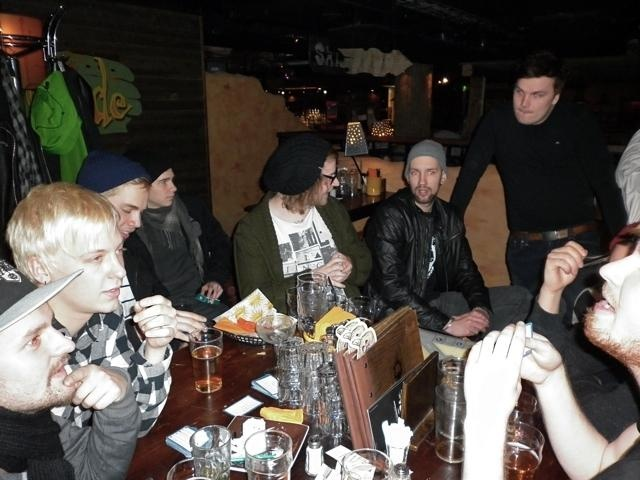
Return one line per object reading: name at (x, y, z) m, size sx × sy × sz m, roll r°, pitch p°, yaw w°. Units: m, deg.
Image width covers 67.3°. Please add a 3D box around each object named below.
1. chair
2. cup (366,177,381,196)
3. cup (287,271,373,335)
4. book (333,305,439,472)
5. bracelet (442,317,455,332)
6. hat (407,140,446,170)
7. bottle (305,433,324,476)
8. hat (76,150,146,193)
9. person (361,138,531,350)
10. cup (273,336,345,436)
chair at (3.291, -2.417, 9.975) m, size 0.970 × 1.770 × 1.856 m, roll 11°, pitch 28°, yaw 36°
cup at (0.566, -0.583, 5.148) m, size 0.189 × 0.205 × 0.183 m, roll -1°, pitch 15°, yaw 0°
cup at (0.055, 0.281, 2.190) m, size 0.353 × 0.329 × 0.223 m, roll 3°, pitch 3°, yaw 7°
book at (0.279, 0.503, 1.726) m, size 0.257 × 0.422 × 0.515 m, roll 12°, pitch 21°, yaw 31°
bracelet at (0.792, 0.526, 2.968) m, size 0.019 × 0.075 × 0.055 m, roll 55°, pitch 10°, yaw 19°
hat at (0.755, -0.575, 3.398) m, size 0.233 × 0.184 × 0.230 m, roll -1°, pitch 6°, yaw 15°
bottle at (-0.018, 0.699, 1.571) m, size 0.063 × 0.148 × 0.073 m, roll 0°, pitch 18°, yaw -1°
hat at (-1.187, -0.419, 2.812) m, size 0.410 × 0.226 × 0.281 m, roll -1°, pitch 10°, yaw -3°
person at (0.782, 0.005, 3.272) m, size 1.052 × 1.297 × 1.101 m, roll -7°, pitch 8°, yaw -29°
cup at (-0.031, 0.521, 1.835) m, size 0.289 × 0.267 × 0.292 m, roll 1°, pitch 10°, yaw 0°
